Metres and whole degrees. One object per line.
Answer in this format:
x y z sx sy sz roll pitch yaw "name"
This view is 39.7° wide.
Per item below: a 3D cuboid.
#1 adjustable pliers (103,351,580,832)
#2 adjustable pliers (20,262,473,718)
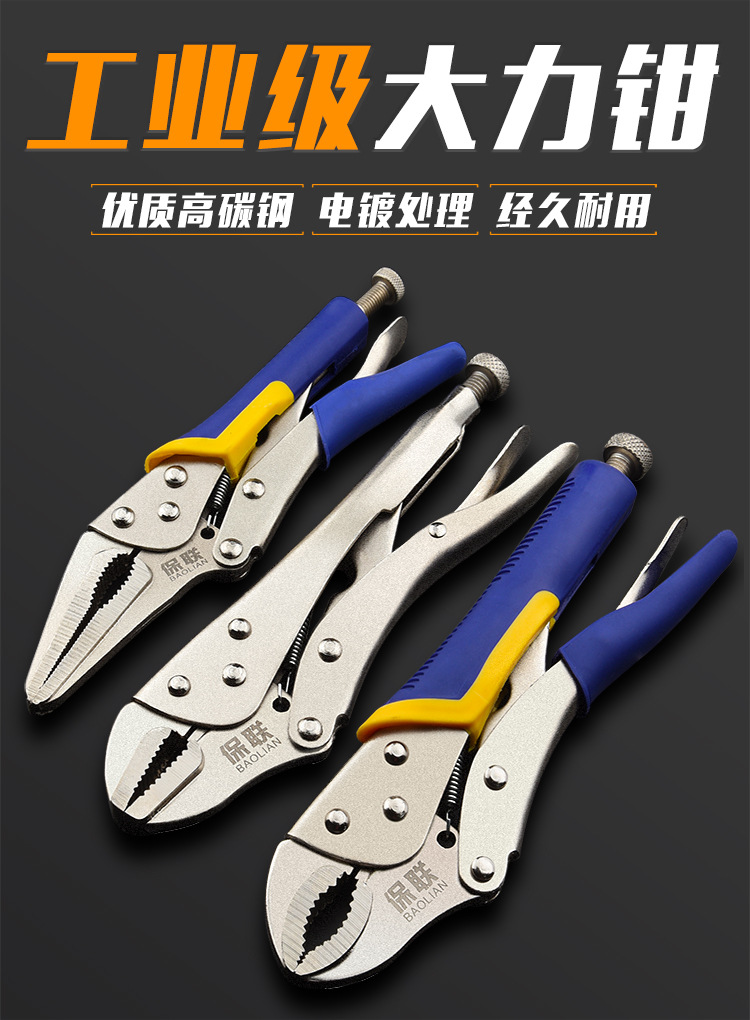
0.010 0.058 1.019 0.190 0.071 0.640 34 49 20 "adjustable pliers"
-0.129 -0.036 1.072 0.178 0.087 0.594 39 54 16 "adjustable pliers"
